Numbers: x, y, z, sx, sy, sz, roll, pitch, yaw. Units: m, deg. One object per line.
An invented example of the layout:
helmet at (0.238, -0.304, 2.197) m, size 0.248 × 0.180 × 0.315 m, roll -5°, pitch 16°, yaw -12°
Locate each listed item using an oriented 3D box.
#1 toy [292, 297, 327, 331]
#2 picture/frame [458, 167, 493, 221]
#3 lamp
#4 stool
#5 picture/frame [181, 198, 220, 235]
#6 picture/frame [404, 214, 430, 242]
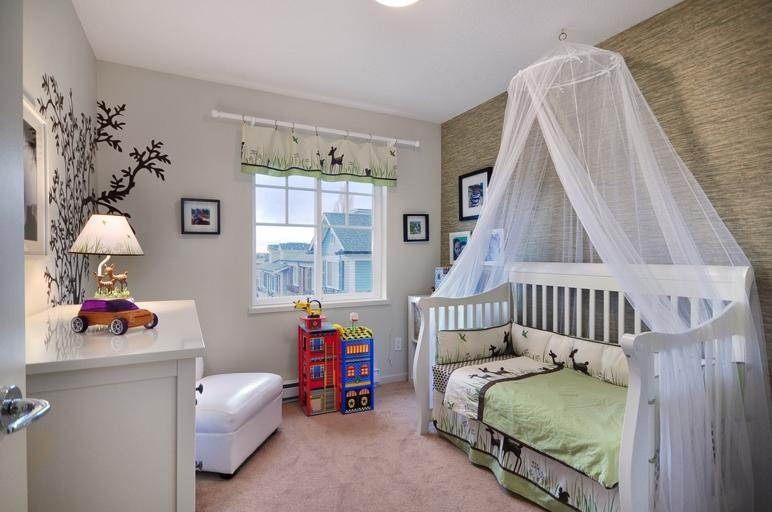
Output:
toy at (-0.692, 0.530, 4.531) m, size 0.292 × 0.272 × 0.224 m, roll 2°, pitch -3°, yaw -32°
picture/frame at (0.870, -0.609, 4.749) m, size 0.045 × 0.634 × 0.583 m, roll 3°, pitch 7°, yaw -28°
lamp at (-1.718, 0.025, 3.105) m, size 0.365 × 0.606 × 0.357 m, roll -2°, pitch 14°, yaw -41°
stool at (-1.323, 1.284, 3.923) m, size 0.694 × 0.533 × 1.009 m, roll 2°, pitch 2°, yaw 9°
picture/frame at (-1.680, -0.362, 4.391) m, size 0.331 × 0.340 × 0.022 m, roll 0°, pitch -3°, yaw -29°
picture/frame at (0.311, -0.315, 5.297) m, size 0.295 × 0.291 × 0.028 m, roll 1°, pitch -3°, yaw -31°
